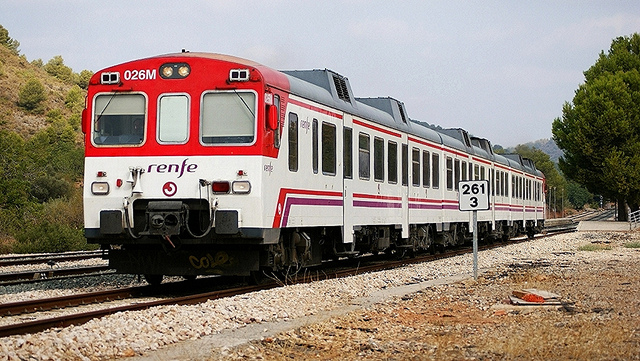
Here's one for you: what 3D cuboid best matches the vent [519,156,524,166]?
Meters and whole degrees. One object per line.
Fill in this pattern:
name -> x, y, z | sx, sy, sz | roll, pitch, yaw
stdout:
vent -> 16.241, -1.506, 39.837 | 0.119, 0.486, 0.507 | -12, -25, 34

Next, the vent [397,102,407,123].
vent -> 3.460, -2.886, 20.872 | 0.161, 0.705, 0.676 | -12, -1, 8

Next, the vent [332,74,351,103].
vent -> 0.726, -3.070, 16.687 | 0.191, 0.788, 0.825 | -14, -12, 27
